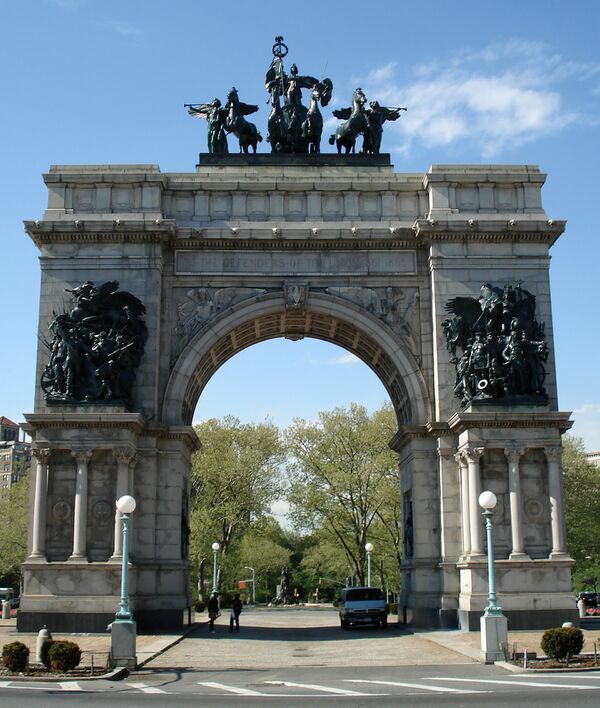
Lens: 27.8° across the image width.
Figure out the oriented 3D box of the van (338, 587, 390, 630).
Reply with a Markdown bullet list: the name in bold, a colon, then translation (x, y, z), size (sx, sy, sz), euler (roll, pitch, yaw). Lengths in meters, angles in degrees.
- **van**: translation (2.275, 9.262, 43.915), size (1.424, 1.546, 2.718), euler (2, -13, -14)

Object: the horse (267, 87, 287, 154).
- **horse**: translation (-0.909, -9.045, 46.874), size (0.644, 3.045, 1.041), euler (0, -13, -2)

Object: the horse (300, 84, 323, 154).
- **horse**: translation (0.425, -9.216, 47.000), size (0.694, 2.938, 0.946), euler (0, -13, -2)
